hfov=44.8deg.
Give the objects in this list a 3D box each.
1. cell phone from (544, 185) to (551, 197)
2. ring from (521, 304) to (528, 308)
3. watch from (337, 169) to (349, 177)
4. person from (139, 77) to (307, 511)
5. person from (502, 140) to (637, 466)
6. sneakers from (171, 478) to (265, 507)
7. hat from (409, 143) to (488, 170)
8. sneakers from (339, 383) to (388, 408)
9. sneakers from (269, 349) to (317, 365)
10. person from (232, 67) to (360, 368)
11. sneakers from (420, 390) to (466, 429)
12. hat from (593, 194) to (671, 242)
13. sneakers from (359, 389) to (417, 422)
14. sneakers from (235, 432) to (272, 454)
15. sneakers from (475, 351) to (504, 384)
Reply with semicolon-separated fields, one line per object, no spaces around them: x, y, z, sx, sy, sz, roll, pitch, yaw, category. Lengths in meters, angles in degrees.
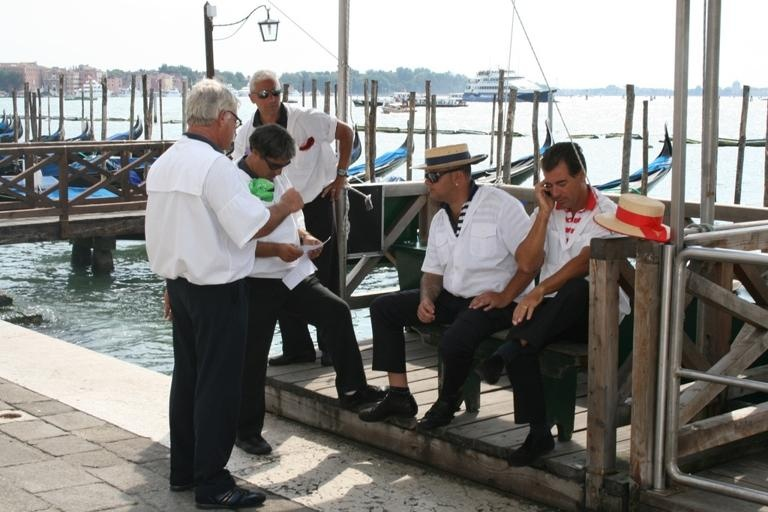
1.016;-0.404;5.788;0.065;0.061;0.019;5;-10;-1;cell phone
0.852;0.307;5.673;0.035;0.023;0.014;9;16;25;ring
-0.315;-0.615;6.947;0.073;0.045;0.067;-7;3;0;watch
-0.980;0.220;5.527;0.794;2.470;0.637;13;18;37;person
1.077;0.270;5.737;0.557;1.879;0.888;6;15;13;person
-0.991;1.414;5.574;0.564;0.210;0.198;-2;6;-15;sneakers
0.406;-0.636;6.058;0.266;0.076;0.246;-13;8;18;hat
-0.144;0.932;6.331;0.365;0.147;0.129;-11;20;-16;sneakers
-0.674;0.766;6.982;0.350;0.099;0.120;1;-1;-15;sneakers
-0.612;-0.365;6.964;0.922;1.901;0.799;-10;0;-14;person
0.360;0.995;5.968;0.352;0.135;0.139;-32;20;-26;sneakers
1.423;-0.204;5.294;0.314;0.159;0.315;13;24;36;hat
-0.019;0.979;6.115;0.463;0.215;0.152;-1;1;14;sneakers
-0.859;1.250;6.161;0.222;0.083;0.109;3;8;25;sneakers
0.642;0.681;5.537;0.093;0.170;0.242;33;-4;34;sneakers
